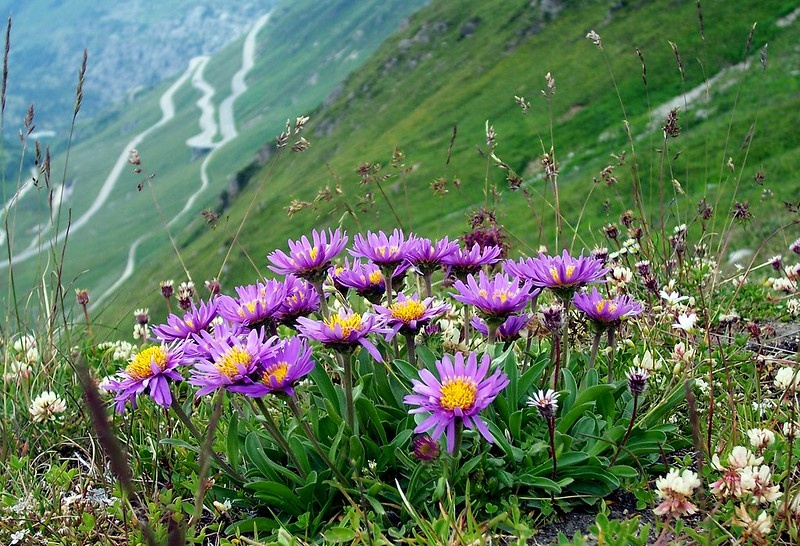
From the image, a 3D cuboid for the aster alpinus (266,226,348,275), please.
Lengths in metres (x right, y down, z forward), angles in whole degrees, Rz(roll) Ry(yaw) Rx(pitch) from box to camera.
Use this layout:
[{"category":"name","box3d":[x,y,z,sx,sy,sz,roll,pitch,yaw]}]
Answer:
[{"category":"aster alpinus","box3d":[-0.850,-0.180,8.983,0.631,0.402,0.752,-18,11,-4]}]

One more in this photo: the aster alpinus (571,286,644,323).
[{"category":"aster alpinus","box3d":[2.148,0.383,8.789,0.562,0.289,0.640,-4,8,14]}]

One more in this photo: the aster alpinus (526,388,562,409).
[{"category":"aster alpinus","box3d":[1.412,1.305,8.383,0.254,0.125,0.274,-15,22,38]}]

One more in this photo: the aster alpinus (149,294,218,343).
[{"category":"aster alpinus","box3d":[-2.203,0.515,9.020,0.515,0.264,0.556,-16,-14,12]}]

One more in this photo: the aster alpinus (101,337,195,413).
[{"category":"aster alpinus","box3d":[-2.513,0.983,8.689,0.687,0.445,0.665,25,17,27]}]

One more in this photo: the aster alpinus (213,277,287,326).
[{"category":"aster alpinus","box3d":[-1.528,0.375,8.801,0.683,0.376,0.715,-7,14,37]}]

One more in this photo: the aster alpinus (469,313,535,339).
[{"category":"aster alpinus","box3d":[1.069,0.572,8.866,0.326,0.175,0.367,0,-12,-14]}]

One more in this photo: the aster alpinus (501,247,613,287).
[{"category":"aster alpinus","box3d":[1.673,0.038,8.931,0.792,0.357,0.852,6,15,32]}]

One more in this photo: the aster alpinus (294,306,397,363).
[{"category":"aster alpinus","box3d":[-0.546,0.644,8.558,0.859,0.557,0.960,-8,12,-11]}]

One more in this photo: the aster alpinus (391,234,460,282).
[{"category":"aster alpinus","box3d":[0.298,-0.167,9.142,0.422,0.308,0.443,-9,4,-30]}]

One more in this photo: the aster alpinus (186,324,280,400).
[{"category":"aster alpinus","box3d":[-1.585,0.894,8.390,0.911,0.438,0.909,-20,12,-36]}]

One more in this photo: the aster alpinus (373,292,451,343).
[{"category":"aster alpinus","box3d":[0.123,0.540,8.845,0.851,0.439,0.900,-5,12,24]}]

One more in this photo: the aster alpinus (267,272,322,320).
[{"category":"aster alpinus","box3d":[-1.077,0.325,9.000,0.484,0.315,0.506,-1,12,34]}]

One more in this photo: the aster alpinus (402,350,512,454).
[{"category":"aster alpinus","box3d":[0.578,1.311,8.499,0.567,0.689,0.550,-39,55,-4]}]
